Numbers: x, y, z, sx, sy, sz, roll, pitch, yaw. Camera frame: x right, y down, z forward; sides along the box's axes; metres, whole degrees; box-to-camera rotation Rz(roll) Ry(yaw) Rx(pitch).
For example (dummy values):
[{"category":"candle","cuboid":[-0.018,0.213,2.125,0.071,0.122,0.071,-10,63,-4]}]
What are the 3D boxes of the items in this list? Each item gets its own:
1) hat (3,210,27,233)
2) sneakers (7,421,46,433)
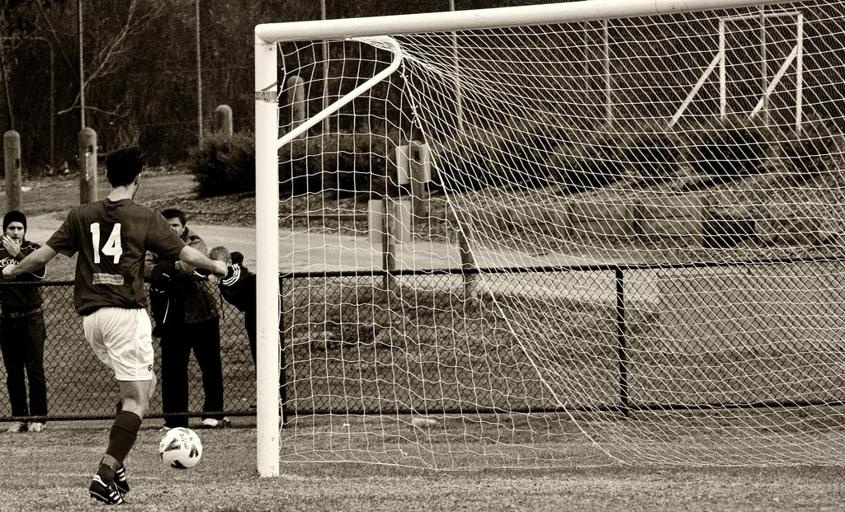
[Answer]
[{"category":"hat","cuboid":[-6.839,-0.575,21.276,0.424,0.411,0.442,0,-6,-15]},{"category":"sneakers","cuboid":[-6.646,2.909,21.330,0.610,0.256,0.223,5,0,-10]}]
